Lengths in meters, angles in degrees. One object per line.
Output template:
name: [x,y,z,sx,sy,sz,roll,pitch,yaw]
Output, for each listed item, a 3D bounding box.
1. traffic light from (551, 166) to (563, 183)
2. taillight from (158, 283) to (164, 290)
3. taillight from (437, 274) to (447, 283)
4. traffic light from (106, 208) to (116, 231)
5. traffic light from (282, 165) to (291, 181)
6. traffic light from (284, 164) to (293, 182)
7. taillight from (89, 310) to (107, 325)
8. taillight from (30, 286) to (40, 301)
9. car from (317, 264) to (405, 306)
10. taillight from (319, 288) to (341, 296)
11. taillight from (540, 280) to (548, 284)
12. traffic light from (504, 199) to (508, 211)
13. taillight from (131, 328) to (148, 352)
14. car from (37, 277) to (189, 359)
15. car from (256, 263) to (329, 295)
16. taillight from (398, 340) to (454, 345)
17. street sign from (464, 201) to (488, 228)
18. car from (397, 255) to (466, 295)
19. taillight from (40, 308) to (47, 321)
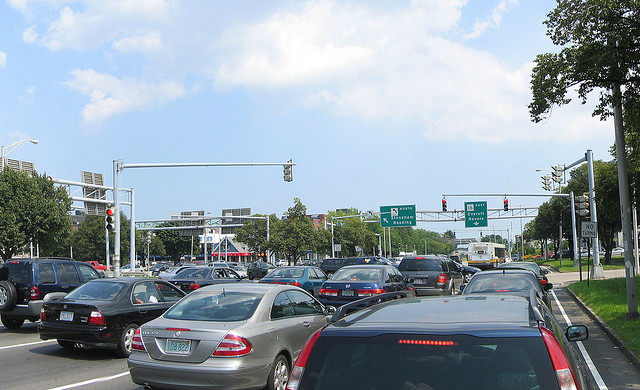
traffic light: [16.647,-1.502,40.949,0.556,1.267,2.752,-5,-8,23]
taillight: [-5.008,2.853,18.304,0.150,0.179,0.059,-8,-11,-32]
taillight: [5.008,3.425,24.028,0.486,0.334,0.132,3,-8,-34]
traffic light: [-10.639,1.261,29.576,0.383,1.079,1.089,-2,-7,-7]
traffic light: [-1.904,-1.233,33.187,0.392,0.887,0.158,1,-7,-26]
traffic light: [-1.883,-1.247,33.157,0.375,0.935,0.162,-1,-7,-13]
taillight: [-6.376,3.489,16.778,0.400,0.351,0.392,0,0,-23]
taillight: [-9.946,3.408,20.287,0.295,0.492,0.124,1,-7,-28]
car: [1.428,3.196,20.721,1.248,0.831,2.722,-2,-1,33]
taillight: [0.314,3.369,20.238,0.802,0.225,0.113,-7,-8,30]
taillight: [8.263,3.220,21.644,0.284,0.129,0.200,10,-14,-34]
traffic light: [15.079,0.808,47.646,0.177,0.652,0.459,-2,-7,1]
taillight: [-4.379,3.497,13.993,0.227,0.519,0.372,-11,6,-19]
car: [-5.582,3.611,18.686,2.324,1.606,5.182,-1,-1,32]
car: [-1.100,3.987,27.558,1.702,1.152,3.734,-1,-1,27]
taillight: [1.774,2.523,10.060,0.554,0.072,0.043,1,-8,6]
street sign: [15.481,1.949,57.835,2.670,2.788,0.296,-3,1,29]
car: [5.122,3.404,25.447,1.560,1.040,3.207,-2,-2,24]
taillight: [-8.258,3.560,17.392,0.111,0.327,0.376,2,-8,-34]
